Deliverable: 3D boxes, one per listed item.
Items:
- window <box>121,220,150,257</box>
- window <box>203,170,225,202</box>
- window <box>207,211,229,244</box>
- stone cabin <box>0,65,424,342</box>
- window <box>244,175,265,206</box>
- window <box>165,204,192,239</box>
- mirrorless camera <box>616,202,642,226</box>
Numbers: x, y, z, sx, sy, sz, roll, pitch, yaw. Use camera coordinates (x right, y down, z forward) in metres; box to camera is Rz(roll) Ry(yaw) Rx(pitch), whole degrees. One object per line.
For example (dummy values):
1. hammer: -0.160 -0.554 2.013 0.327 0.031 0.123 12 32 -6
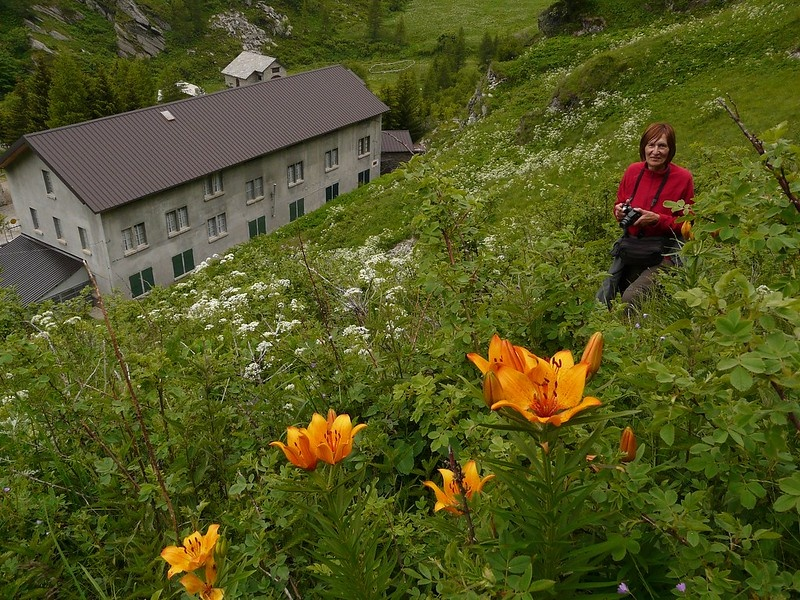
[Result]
1. window: -13.370 -3.156 28.558 0.203 1.061 1.544 6 27 19
2. window: -10.470 -6.466 31.842 0.189 1.060 1.545 8 27 20
3. window: -10.682 -4.333 33.186 0.190 1.135 1.580 7 30 19
4. stone cabin: -13.343 -9.435 38.288 14.011 10.293 27.220 15 37 29
5. window: -8.941 -6.763 34.730 0.206 1.157 1.561 16 42 24
6. window: -11.948 -4.282 30.445 0.183 1.094 1.530 5 34 22
7. mirrorless camera: 2.414 -0.902 5.993 0.197 0.154 0.244 -36 37 -9
